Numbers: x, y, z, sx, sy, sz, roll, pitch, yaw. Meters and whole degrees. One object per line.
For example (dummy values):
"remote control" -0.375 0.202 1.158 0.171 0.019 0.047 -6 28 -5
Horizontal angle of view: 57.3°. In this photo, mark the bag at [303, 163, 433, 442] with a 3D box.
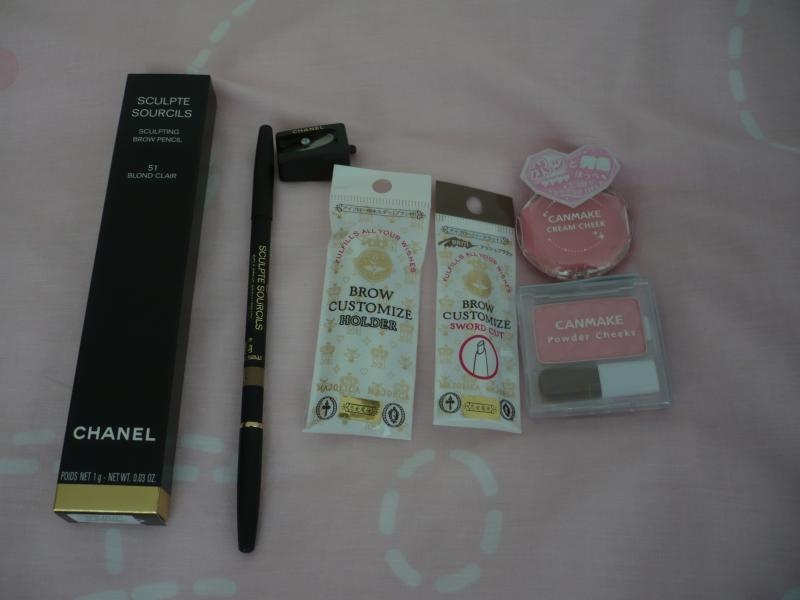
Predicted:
"bag" -0.035 -0.006 0.924 0.129 0.266 0.245 4 26 2

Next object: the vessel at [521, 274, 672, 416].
"vessel" 0.236 0.054 0.896 0.172 0.151 0.109 1 26 -3
